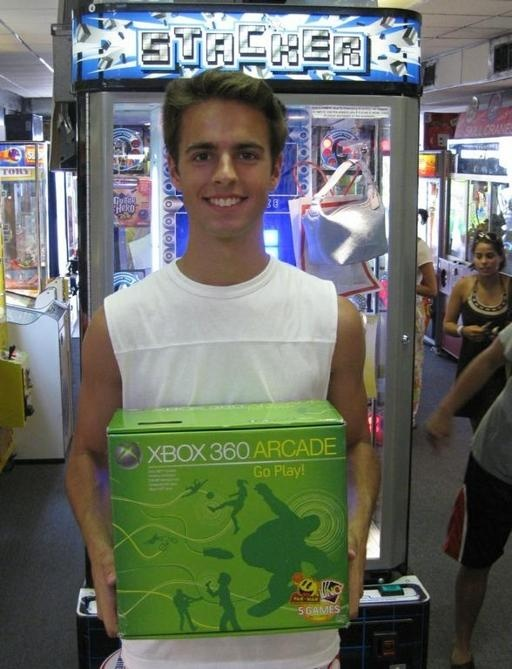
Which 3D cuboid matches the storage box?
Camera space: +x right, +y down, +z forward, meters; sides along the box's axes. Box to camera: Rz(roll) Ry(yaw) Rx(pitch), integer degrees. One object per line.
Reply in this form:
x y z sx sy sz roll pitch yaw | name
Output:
-0.011 0.194 0.770 0.403 0.391 0.229 0 2 -6 | storage box

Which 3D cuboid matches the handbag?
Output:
0.239 -0.350 1.987 0.325 0.350 0.082 -9 17 -11 | handbag
